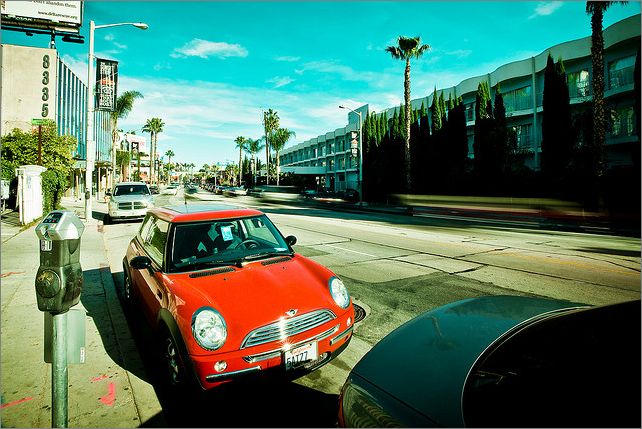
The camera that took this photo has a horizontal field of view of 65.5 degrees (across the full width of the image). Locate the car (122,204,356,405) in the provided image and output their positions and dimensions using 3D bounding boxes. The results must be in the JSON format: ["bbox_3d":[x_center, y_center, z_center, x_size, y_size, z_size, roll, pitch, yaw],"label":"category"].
[{"bbox_3d":[-1.713,1.711,10.495,4.772,3.438,2.516,1,9,4],"label":"car"}]

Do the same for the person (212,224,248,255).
[{"bbox_3d":[-2.053,0.467,10.778,0.521,0.744,0.670,-10,-4,-11],"label":"person"}]
